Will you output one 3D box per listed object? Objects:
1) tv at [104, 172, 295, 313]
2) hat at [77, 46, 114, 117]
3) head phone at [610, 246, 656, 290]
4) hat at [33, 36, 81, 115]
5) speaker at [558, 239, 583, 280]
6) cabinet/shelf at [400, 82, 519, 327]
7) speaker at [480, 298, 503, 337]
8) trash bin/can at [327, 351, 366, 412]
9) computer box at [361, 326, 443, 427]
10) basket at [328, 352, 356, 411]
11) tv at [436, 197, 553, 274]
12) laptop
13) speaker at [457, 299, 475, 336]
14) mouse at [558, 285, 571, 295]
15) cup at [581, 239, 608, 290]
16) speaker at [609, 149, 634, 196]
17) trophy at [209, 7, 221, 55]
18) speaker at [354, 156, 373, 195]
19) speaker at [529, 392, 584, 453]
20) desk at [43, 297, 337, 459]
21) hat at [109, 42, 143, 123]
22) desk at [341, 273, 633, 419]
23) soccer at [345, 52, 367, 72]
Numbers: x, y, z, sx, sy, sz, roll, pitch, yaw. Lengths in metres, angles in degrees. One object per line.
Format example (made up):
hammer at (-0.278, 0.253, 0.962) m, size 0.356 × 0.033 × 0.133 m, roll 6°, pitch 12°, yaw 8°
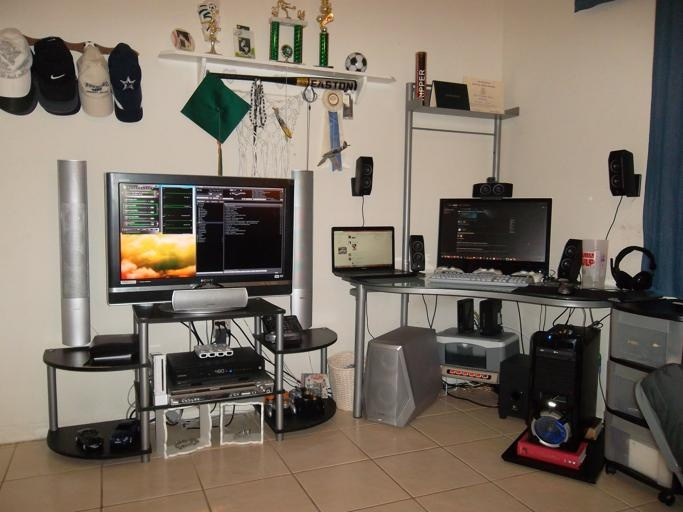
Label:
tv at (-0.909, -0.092, 3.444) m, size 0.882 × 0.625 × 0.089 m, roll -1°, pitch 3°, yaw -21°
hat at (-1.504, -1.052, 3.467) m, size 0.240 × 0.400 × 0.163 m, roll -17°, pitch 12°, yaw -39°
head phone at (1.790, 0.083, 3.454) m, size 0.230 × 0.270 × 0.143 m, roll -3°, pitch 10°, yaw 29°
hat at (-1.701, -1.067, 3.347) m, size 0.258 × 0.446 × 0.141 m, roll -13°, pitch 17°, yaw -32°
speaker at (1.487, 0.040, 3.674) m, size 0.150 × 0.285 × 0.317 m, roll 2°, pitch 8°, yaw 28°
cabinet/shelf at (0.840, -0.590, 4.127) m, size 0.768 × 1.653 × 0.278 m, roll 7°, pitch -34°, yaw 2°
speaker at (1.089, 0.451, 4.124) m, size 0.105 × 0.265 × 0.304 m, roll -3°, pitch -5°, yaw 31°
trash bin/can at (0.033, 0.892, 4.079) m, size 0.274 × 0.261 × 0.310 m, roll 0°, pitch 0°, yaw -7°
computer box at (0.422, 0.816, 3.970) m, size 0.364 × 0.567 × 0.624 m, roll 5°, pitch 8°, yaw 28°
basket at (0.007, 0.895, 4.099) m, size 0.271 × 0.261 × 0.307 m, roll 0°, pitch -1°, yaw -6°
tv at (1.074, -0.146, 4.015) m, size 0.777 × 0.524 × 0.098 m, roll 2°, pitch 8°, yaw 24°
laptop at (0.157, -0.035, 4.117) m, size 0.539 × 0.350 × 0.375 m, roll -1°, pitch 6°, yaw -22°
speaker at (0.918, 0.456, 4.169) m, size 0.088 × 0.269 × 0.253 m, roll -3°, pitch -1°, yaw 24°
mouse at (1.328, 0.198, 3.345) m, size 0.053 × 0.015 × 0.061 m, roll 10°, pitch 28°, yaw 34°
cup at (1.648, 0.045, 3.669) m, size 0.152 × 0.295 × 0.183 m, roll 2°, pitch 8°, yaw 22°
speaker at (1.834, -0.537, 3.665) m, size 0.165 × 0.287 × 0.106 m, roll -3°, pitch 7°, yaw -14°
trophy at (-0.838, -1.461, 3.689) m, size 0.089 × 0.322 × 0.198 m, roll -3°, pitch 7°, yaw -11°
speaker at (0.161, -0.582, 4.157) m, size 0.121 × 0.292 × 0.144 m, roll -3°, pitch 7°, yaw -15°
speaker at (1.240, 0.952, 3.393) m, size 0.248 × 0.334 × 0.340 m, roll 10°, pitch 16°, yaw 44°
desk at (-0.957, 0.716, 3.546) m, size 1.713 × 0.869 × 0.519 m, roll -4°, pitch 8°, yaw -19°
hat at (-1.356, -1.073, 3.525) m, size 0.189 × 0.457 × 0.202 m, roll -4°, pitch 8°, yaw -20°
desk at (0.808, 0.256, 3.883) m, size 1.608 × 0.842 × 0.996 m, roll 3°, pitch 5°, yaw 30°
soccer at (0.100, -1.377, 4.039) m, size 0.139 × 0.141 × 0.139 m, roll -8°, pitch 18°, yaw -31°
